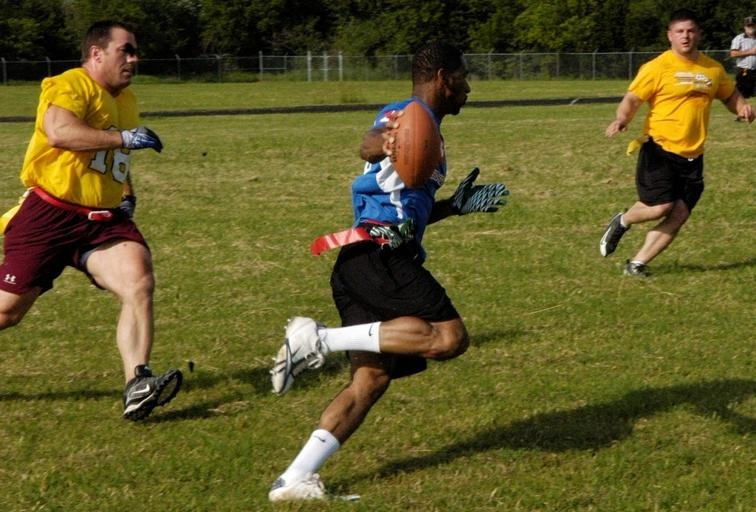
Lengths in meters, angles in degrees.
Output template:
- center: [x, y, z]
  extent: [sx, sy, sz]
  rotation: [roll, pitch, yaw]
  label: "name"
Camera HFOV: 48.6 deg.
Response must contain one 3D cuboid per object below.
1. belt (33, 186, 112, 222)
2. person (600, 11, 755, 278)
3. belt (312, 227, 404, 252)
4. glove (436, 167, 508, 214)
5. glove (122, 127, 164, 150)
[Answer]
- center: [-2.425, -0.385, 6.689]
  extent: [0.497, 0.096, 0.355]
  rotation: [15, 8, -12]
  label: "belt"
- center: [3.177, -1.230, 9.196]
  extent: [1.169, 2.878, 0.867]
  rotation: [-14, 26, -40]
  label: "person"
- center: [-0.151, -0.130, 5.892]
  extent: [0.481, 0.067, 0.269]
  rotation: [-8, -6, 9]
  label: "belt"
- center: [0.688, -0.481, 6.224]
  extent: [0.633, 0.129, 0.367]
  rotation: [5, 32, 11]
  label: "glove"
- center: [-1.886, -0.924, 6.643]
  extent: [0.294, 0.203, 0.388]
  rotation: [-2, 15, -14]
  label: "glove"
